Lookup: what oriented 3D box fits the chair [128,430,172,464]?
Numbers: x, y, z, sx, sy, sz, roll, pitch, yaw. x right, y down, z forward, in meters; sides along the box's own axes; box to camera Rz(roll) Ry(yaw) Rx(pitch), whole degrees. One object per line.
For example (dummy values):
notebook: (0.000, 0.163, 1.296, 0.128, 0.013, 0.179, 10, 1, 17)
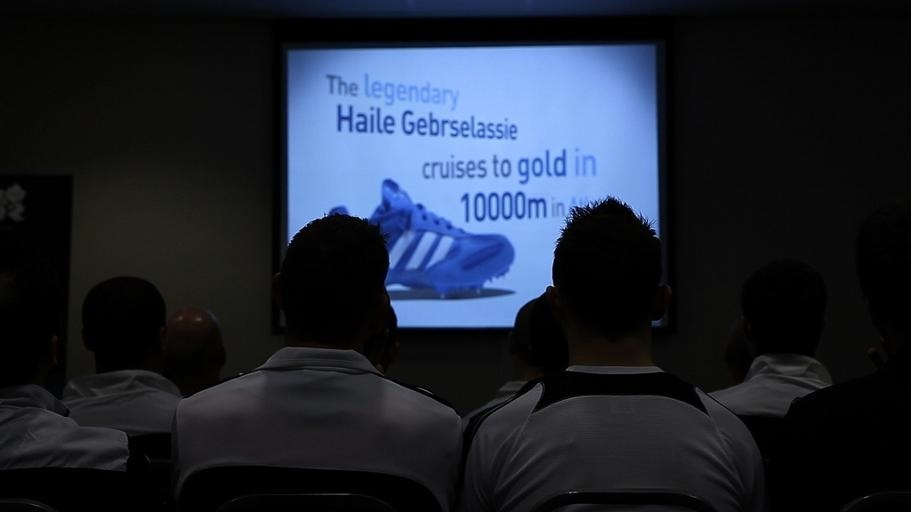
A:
chair: (-1.696, 1.050, 4.160, 0.246, 0.130, 0.107, 2, 6, -4)
